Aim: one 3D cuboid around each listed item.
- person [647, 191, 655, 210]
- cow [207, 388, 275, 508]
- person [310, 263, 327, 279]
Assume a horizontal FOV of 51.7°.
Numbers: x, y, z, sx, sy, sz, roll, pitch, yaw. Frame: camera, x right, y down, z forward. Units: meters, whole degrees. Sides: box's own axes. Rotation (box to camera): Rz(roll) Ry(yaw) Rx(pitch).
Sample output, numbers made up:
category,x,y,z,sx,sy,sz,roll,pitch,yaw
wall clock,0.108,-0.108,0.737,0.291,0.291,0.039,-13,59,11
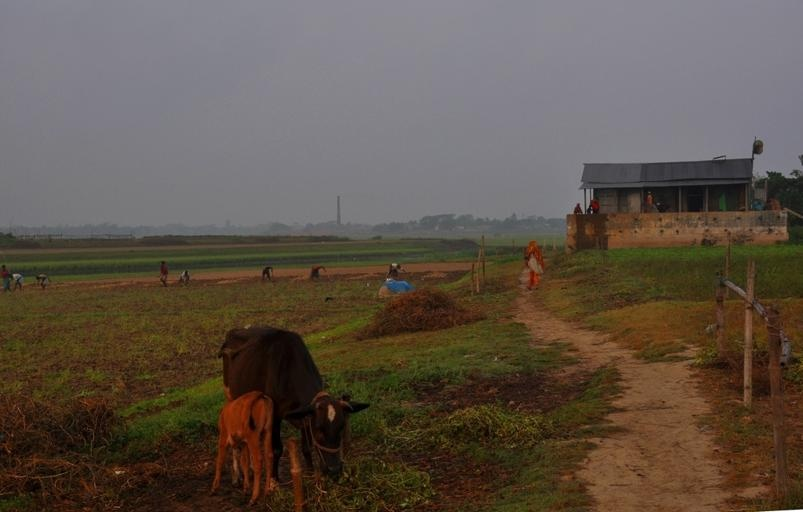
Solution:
category,x,y,z,sx,sy,sz,roll,pitch,yaw
person,18.481,-3.956,61.890,0.477,1.369,2.299,-3,8,20
cow,-5.245,6.353,27.713,1.993,3.545,1.399,-2,9,26
person,-7.748,1.569,76.272,0.916,1.321,2.425,-1,-7,-23
